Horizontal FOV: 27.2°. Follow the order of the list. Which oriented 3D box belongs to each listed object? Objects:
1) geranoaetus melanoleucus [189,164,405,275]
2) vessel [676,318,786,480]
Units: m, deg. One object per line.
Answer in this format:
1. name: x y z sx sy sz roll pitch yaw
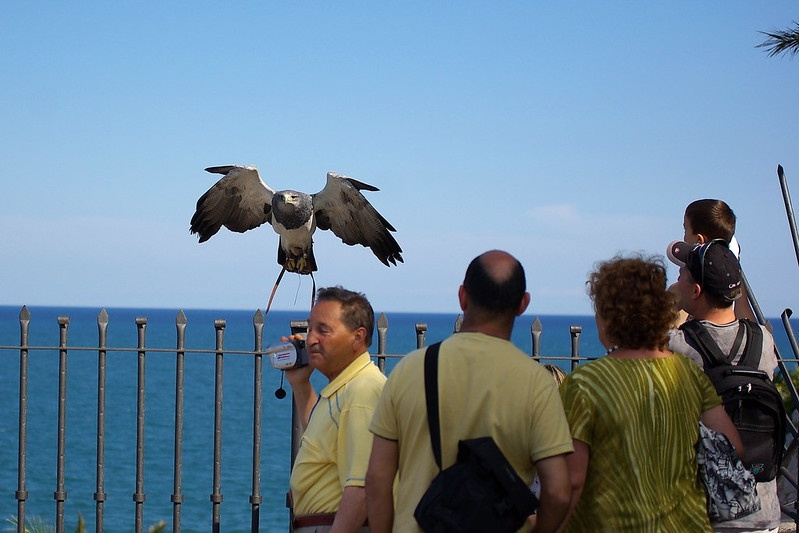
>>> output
1. geranoaetus melanoleucus: -1.764 -0.724 27.557 3.577 1.538 1.514 5 -9 1
2. vessel: 4.715 1.923 23.345 1.373 2.183 1.172 0 7 -26
